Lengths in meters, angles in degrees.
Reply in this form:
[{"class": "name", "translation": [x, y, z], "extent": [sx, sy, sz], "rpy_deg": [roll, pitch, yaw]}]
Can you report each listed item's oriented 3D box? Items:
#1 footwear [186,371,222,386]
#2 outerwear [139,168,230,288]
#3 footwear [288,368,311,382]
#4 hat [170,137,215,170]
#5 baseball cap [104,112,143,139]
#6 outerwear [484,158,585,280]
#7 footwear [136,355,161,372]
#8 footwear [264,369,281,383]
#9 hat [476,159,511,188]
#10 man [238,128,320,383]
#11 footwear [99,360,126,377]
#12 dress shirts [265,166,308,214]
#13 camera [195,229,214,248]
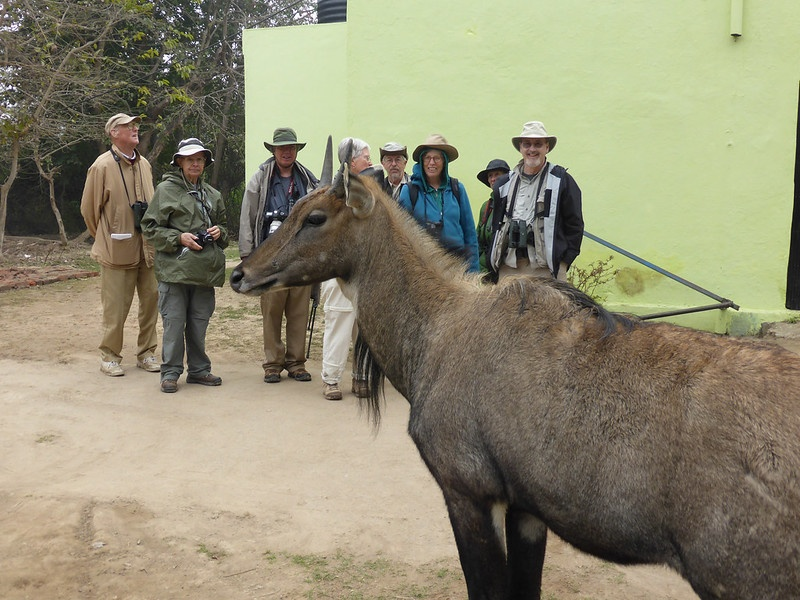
[{"class": "footwear", "translation": [-2.309, 0.930, 8.292], "extent": [0.417, 0.219, 0.164], "rpy_deg": [-1, 2, 8]}, {"class": "outerwear", "translation": [-2.440, -0.833, 7.856], "extent": [0.883, 1.255, 0.631], "rpy_deg": [-3, 12, -21]}, {"class": "footwear", "translation": [-1.232, 0.933, 8.571], "extent": [0.116, 0.135, 0.315], "rpy_deg": [-1, -2, -35]}, {"class": "hat", "translation": [-2.358, -1.685, 7.880], "extent": [0.404, 0.311, 0.673], "rpy_deg": [-3, 12, -22]}, {"class": "baseball cap", "translation": [-3.310, -2.113, 8.308], "extent": [0.340, 0.273, 0.569], "rpy_deg": [-2, 12, -20]}, {"class": "outerwear", "translation": [1.374, -0.814, 7.236], "extent": [1.032, 1.289, 0.644], "rpy_deg": [-1, -17, 27]}, {"class": "footwear", "translation": [-3.166, 0.807, 8.783], "extent": [0.366, 0.184, 0.158], "rpy_deg": [8, 3, 44]}, {"class": "footwear", "translation": [-1.541, 0.926, 8.386], "extent": [0.106, 0.136, 0.286], "rpy_deg": [1, -7, -9]}, {"class": "hat", "translation": [1.320, -1.871, 9.772], "extent": [0.390, 0.194, 0.478], "rpy_deg": [-28, -20, 30]}, {"class": "man", "translation": [-1.328, -0.454, 8.122], "extent": [1.063, 3.109, 1.032], "rpy_deg": [0, 12, -5]}, {"class": "footwear", "translation": [-3.508, 0.833, 8.479], "extent": [0.335, 0.148, 0.143], "rpy_deg": [9, 10, 39]}, {"class": "dress shirts", "translation": [-1.317, -1.257, 7.982], "extent": [0.468, 0.685, 0.256], "rpy_deg": [1, -8, -7]}, {"class": "camera", "translation": [-2.163, -0.684, 7.676], "extent": [0.189, 0.206, 0.148], "rpy_deg": [6, -5, 3]}]
